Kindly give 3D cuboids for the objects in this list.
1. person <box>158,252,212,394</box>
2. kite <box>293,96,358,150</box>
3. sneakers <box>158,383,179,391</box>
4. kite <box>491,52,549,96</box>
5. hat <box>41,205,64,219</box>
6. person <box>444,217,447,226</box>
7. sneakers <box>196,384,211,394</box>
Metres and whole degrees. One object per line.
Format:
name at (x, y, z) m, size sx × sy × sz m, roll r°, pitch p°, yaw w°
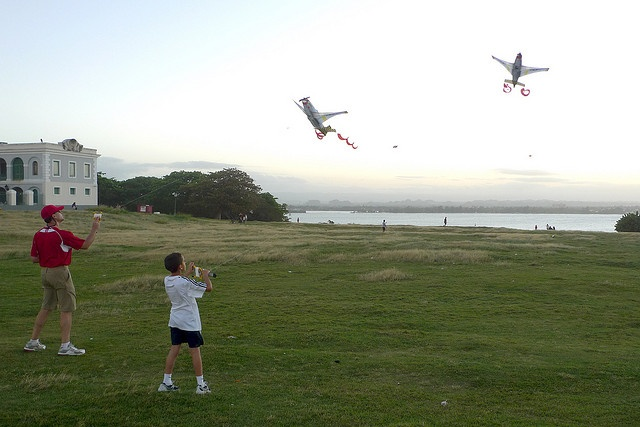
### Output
person at (-3.153, 2.473, 12.281) m, size 1.162 × 3.062 × 1.380 m, roll -1°, pitch 9°, yaw -17°
kite at (0.075, -2.961, 17.856) m, size 1.895 × 0.547 × 1.148 m, roll -30°, pitch -15°, yaw 22°
sneakers at (-3.468, 3.968, 12.147) m, size 0.500 × 0.196 × 0.177 m, roll 1°, pitch -2°, yaw -7°
kite at (7.188, -5.143, 19.377) m, size 2.313 × 1.581 × 0.395 m, roll 24°, pitch 50°, yaw 31°
hat at (-6.847, -0.030, 13.620) m, size 0.571 × 0.281 × 0.361 m, roll -28°, pitch 20°, yaw -25°
person at (26.414, 1.612, 111.684) m, size 0.692 × 2.241 × 1.110 m, roll -7°, pitch -19°, yaw 9°
sneakers at (-2.663, 3.989, 12.011) m, size 0.411 × 0.234 × 0.140 m, roll -1°, pitch 2°, yaw -20°
